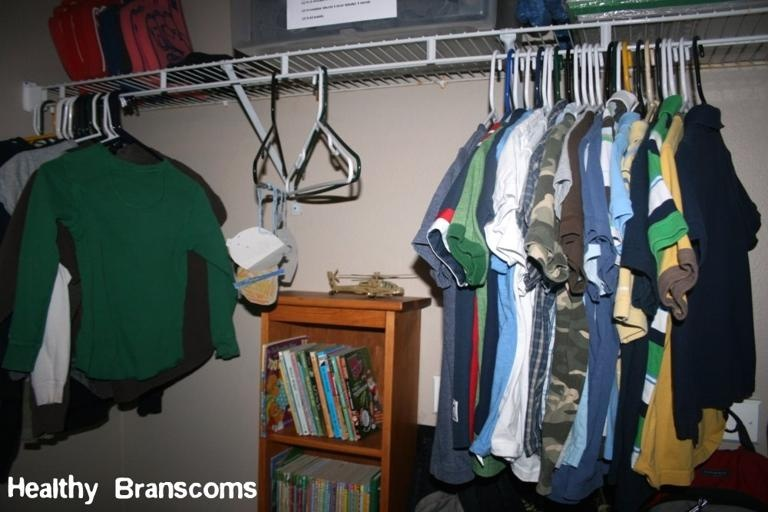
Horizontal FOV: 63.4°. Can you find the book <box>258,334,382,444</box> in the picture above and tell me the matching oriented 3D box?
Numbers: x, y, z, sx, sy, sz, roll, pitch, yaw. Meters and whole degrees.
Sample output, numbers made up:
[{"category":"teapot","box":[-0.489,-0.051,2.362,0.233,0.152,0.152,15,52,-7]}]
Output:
[{"category":"book","box":[-0.257,0.518,2.380,0.335,0.471,0.474,-4,5,-25]}]

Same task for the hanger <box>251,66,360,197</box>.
[{"category":"hanger","box":[-0.310,-0.518,2.597,0.495,0.557,0.081,4,7,33]}]

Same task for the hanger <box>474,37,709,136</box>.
[{"category":"hanger","box":[0.775,-0.631,2.295,0.791,0.315,0.297,-5,-4,11]}]

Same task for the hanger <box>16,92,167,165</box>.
[{"category":"hanger","box":[-1.248,-0.551,2.786,0.831,0.432,0.262,5,9,29]}]
